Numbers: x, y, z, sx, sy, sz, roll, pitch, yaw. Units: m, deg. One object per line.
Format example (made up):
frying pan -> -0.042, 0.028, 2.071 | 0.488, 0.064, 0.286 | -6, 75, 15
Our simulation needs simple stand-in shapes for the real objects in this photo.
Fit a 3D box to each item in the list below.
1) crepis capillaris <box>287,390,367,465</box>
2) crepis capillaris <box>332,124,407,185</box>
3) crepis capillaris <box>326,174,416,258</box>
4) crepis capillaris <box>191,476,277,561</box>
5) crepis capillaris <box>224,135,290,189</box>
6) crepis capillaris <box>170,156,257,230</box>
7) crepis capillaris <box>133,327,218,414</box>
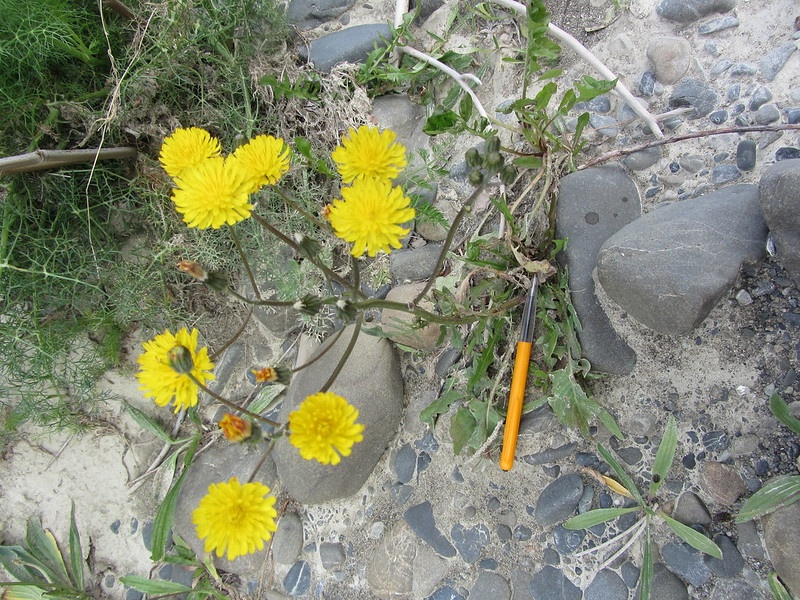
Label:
crepis capillaris -> -0.157, 0.268, 1.445 | 0.145, 0.060, 0.146 | -44, 82, -11
crepis capillaris -> -0.063, -0.341, 1.565 | 0.173, 0.190, 0.091 | 14, 88, 11
crepis capillaris -> -0.057, -0.178, 1.491 | 0.169, 0.090, 0.185 | -37, 80, -10
crepis capillaris -> -0.346, 0.456, 1.444 | 0.166, 0.100, 0.155 | -14, 77, -5
crepis capillaris -> -0.308, -0.328, 1.573 | 0.134, 0.129, 0.085 | -6, 90, -41
crepis capillaris -> -0.408, -0.233, 1.517 | 0.168, 0.095, 0.176 | -13, 77, -5
crepis capillaris -> -0.490, 0.167, 1.575 | 0.184, 0.094, 0.197 | -41, 72, 12
